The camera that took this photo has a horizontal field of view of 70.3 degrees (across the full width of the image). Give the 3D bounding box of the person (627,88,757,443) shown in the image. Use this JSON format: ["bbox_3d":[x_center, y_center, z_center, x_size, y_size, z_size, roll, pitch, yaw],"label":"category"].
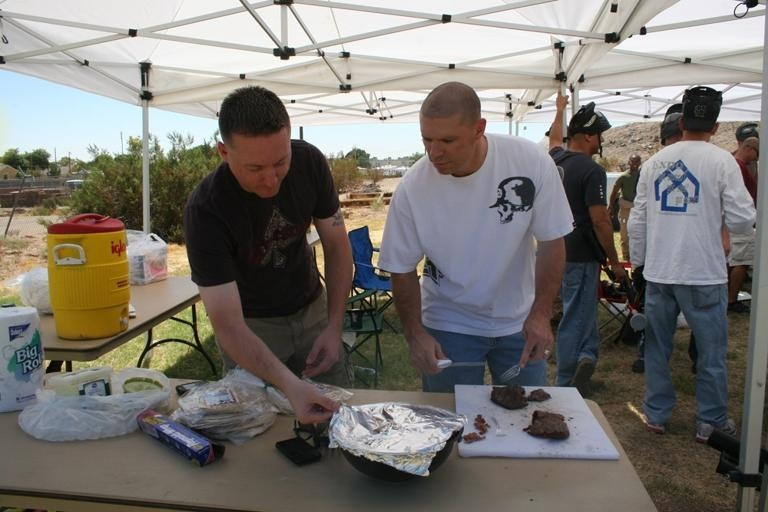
[{"bbox_3d":[2.534,0.085,4.578,0.893,2.923,0.621,4,13,35],"label":"person"}]

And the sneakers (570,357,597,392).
[{"bbox_3d":[1.877,1.121,5.162,0.145,0.463,0.185,9,25,8],"label":"sneakers"}]

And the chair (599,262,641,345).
[{"bbox_3d":[2.600,0.538,6.014,0.379,0.524,1.326,-2,26,16],"label":"chair"}]

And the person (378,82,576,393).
[{"bbox_3d":[0.566,-0.068,3.358,1.203,1.945,0.494,-3,11,-2],"label":"person"}]

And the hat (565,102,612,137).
[{"bbox_3d":[1.997,-1.325,5.377,0.421,0.281,0.288,-27,20,-6],"label":"hat"}]

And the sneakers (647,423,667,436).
[{"bbox_3d":[2.364,1.496,4.754,0.070,0.084,0.175,0,11,-22],"label":"sneakers"}]

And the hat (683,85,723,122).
[{"bbox_3d":[2.554,-1.222,4.436,0.241,0.297,0.318,9,44,20],"label":"hat"}]

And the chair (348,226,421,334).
[{"bbox_3d":[-0.019,0.312,7.086,0.867,1.290,0.757,9,19,30],"label":"chair"}]
